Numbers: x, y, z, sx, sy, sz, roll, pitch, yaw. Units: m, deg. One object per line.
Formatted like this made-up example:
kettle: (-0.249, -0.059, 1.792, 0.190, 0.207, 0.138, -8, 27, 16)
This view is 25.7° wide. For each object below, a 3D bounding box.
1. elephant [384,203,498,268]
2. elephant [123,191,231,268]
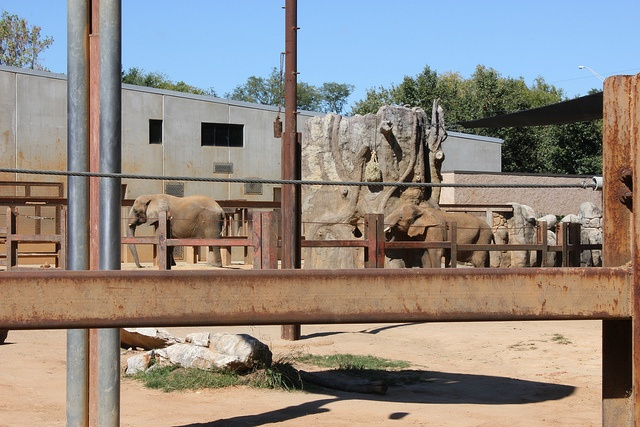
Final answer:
elephant: (2.913, 0.568, 34.055, 3.018, 1.587, 1.114, -2, 8, -34)
elephant: (-4.062, 0.526, 39.428, 3.126, 2.064, 1.482, 1, 3, 18)
